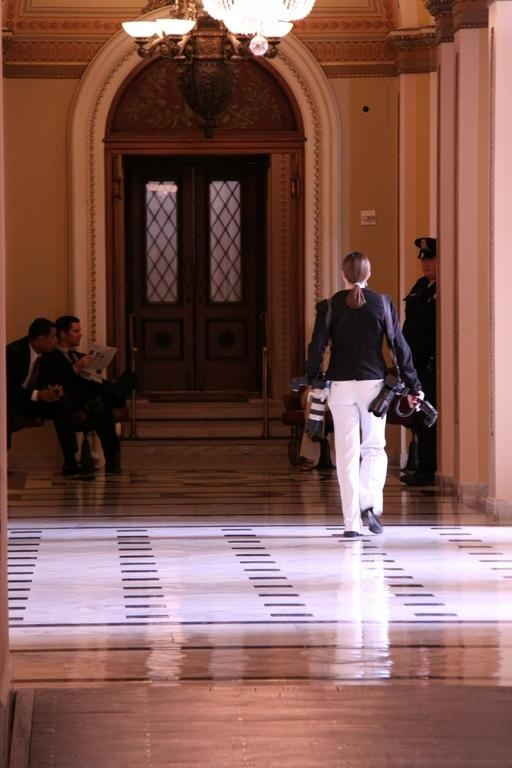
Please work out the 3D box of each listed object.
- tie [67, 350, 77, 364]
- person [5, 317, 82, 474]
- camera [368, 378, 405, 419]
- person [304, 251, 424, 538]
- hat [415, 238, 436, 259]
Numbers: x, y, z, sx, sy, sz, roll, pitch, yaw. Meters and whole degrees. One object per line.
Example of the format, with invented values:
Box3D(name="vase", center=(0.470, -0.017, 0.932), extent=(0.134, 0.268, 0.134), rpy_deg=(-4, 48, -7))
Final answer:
Box3D(name="tie", center=(-1.764, -0.261, 8.107), extent=(0.115, 0.118, 0.116), rpy_deg=(-7, 3, -33))
Box3D(name="person", center=(-1.987, 0.143, 7.699), extent=(0.580, 1.259, 0.497), rpy_deg=(-6, 3, -15))
Box3D(name="camera", center=(0.772, 0.083, 4.901), extent=(0.169, 0.269, 0.111), rpy_deg=(34, 1, 3))
Box3D(name="person", center=(0.639, 0.067, 4.974), extent=(0.659, 1.677, 0.315), rpy_deg=(-5, 3, 4))
Box3D(name="hat", center=(1.507, -1.204, 7.464), extent=(0.223, 0.161, 0.257), rpy_deg=(1, -5, 12))
